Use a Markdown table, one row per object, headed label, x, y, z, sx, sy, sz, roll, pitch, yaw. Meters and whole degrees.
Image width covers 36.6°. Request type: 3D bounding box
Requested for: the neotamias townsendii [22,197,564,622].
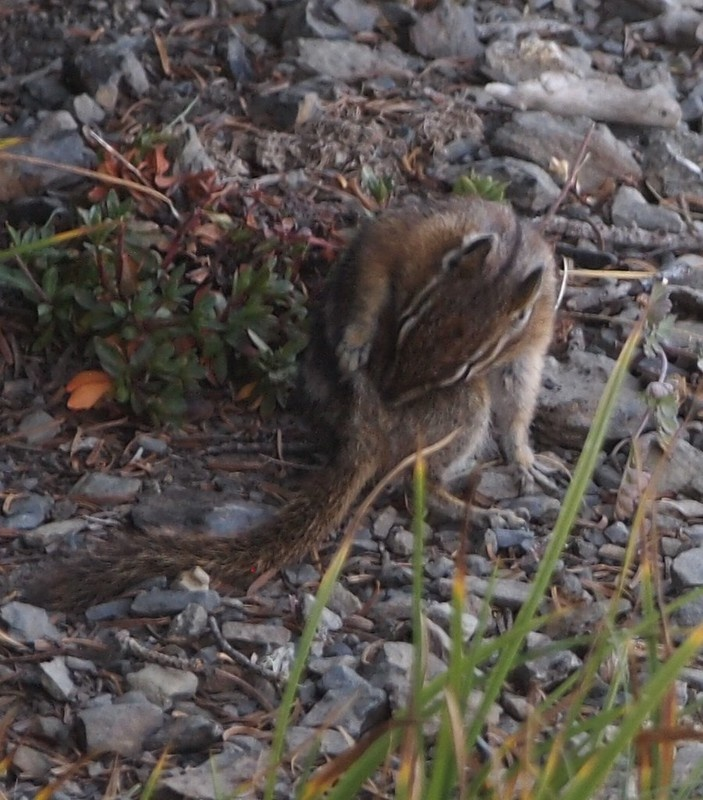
| label | x | y | z | sx | sy | sz | roll | pitch | yaw |
| --- | --- | --- | --- | --- | --- | --- | --- | --- | --- |
| neotamias townsendii | -0.011 | -0.065 | 2.635 | 1.267 | 0.727 | 0.621 | -10 | 49 | -21 |
